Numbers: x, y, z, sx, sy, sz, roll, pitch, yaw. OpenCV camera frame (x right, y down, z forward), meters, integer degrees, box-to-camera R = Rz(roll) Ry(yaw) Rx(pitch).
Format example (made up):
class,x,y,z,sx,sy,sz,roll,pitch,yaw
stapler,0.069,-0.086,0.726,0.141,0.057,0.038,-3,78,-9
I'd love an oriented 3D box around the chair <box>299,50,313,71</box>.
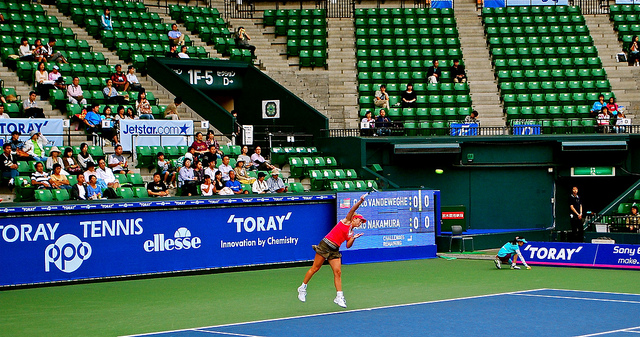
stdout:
class,x,y,z,sx,sy,sz,roll,pitch,yaw
chair,-0.715,-6.125,56.811,1.080,1.201,1.035,0,3,-2

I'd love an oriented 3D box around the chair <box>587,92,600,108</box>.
class,x,y,z,sx,sy,sz,roll,pitch,yaw
chair,14.795,-3.745,54.283,0.783,0.719,0.699,-2,3,-5

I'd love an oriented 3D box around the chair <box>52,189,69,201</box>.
class,x,y,z,sx,sy,sz,roll,pitch,yaw
chair,-11.127,1.138,43.909,0.637,0.737,0.649,0,-13,-28

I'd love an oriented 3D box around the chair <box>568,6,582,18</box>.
class,x,y,z,sx,sy,sz,roll,pitch,yaw
chair,15.271,-9.467,60.327,0.726,0.602,0.677,-1,3,11

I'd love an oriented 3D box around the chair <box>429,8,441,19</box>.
class,x,y,z,sx,sy,sz,roll,pitch,yaw
chair,6.908,-9.227,59.795,0.686,0.683,0.552,1,9,2

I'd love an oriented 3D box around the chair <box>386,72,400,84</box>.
class,x,y,z,sx,sy,sz,roll,pitch,yaw
chair,4.162,-4.978,55.469,0.910,0.757,0.609,0,-5,1

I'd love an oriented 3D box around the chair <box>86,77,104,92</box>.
class,x,y,z,sx,sy,sz,roll,pitch,yaw
chair,-11.304,-4.315,51.057,0.833,0.626,0.579,-2,3,-22

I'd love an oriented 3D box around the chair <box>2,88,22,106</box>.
class,x,y,z,sx,sy,sz,roll,pitch,yaw
chair,-14.806,-3.473,48.806,0.879,0.891,1.291,-2,3,-16

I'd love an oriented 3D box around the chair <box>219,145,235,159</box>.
class,x,y,z,sx,sy,sz,roll,pitch,yaw
chair,-4.458,-0.839,48.871,0.608,0.712,0.647,3,-3,-38

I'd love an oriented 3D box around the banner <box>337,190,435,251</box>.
class,x,y,z,sx,sy,sz,roll,pitch,yaw
banner,3.075,2.548,45.808,6.452,3.218,0.336,0,-2,-43

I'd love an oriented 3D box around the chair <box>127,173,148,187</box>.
class,x,y,z,sx,sy,sz,roll,pitch,yaw
chair,-8.292,0.522,45.914,0.630,0.745,0.684,2,-4,-35

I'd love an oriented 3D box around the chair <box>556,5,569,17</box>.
class,x,y,z,sx,sy,sz,roll,pitch,yaw
chair,14.535,-9.449,60.352,0.674,0.391,0.631,1,8,7

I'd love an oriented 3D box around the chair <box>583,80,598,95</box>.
class,x,y,z,sx,sy,sz,roll,pitch,yaw
chair,14.793,-4.450,55.047,0.735,0.583,0.641,0,-4,9

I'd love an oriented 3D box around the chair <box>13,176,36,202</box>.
class,x,y,z,sx,sy,sz,roll,pitch,yaw
chair,-12.839,0.878,44.047,0.770,1.060,0.814,-3,3,-26

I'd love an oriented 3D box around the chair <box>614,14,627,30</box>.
class,x,y,z,sx,sy,sz,roll,pitch,yaw
chair,17.904,-8.698,59.767,0.963,0.836,0.727,1,-31,5

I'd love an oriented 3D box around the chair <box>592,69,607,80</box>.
class,x,y,z,sx,sy,sz,roll,pitch,yaw
chair,15.480,-5.183,55.730,0.695,0.408,0.645,1,7,4

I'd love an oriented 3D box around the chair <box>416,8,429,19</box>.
class,x,y,z,sx,sy,sz,roll,pitch,yaw
chair,6.160,-9.247,59.840,0.672,0.557,0.605,1,3,6

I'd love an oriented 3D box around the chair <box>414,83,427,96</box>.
class,x,y,z,sx,sy,sz,roll,pitch,yaw
chair,5.577,-4.285,54.597,0.680,0.729,0.651,2,-4,0

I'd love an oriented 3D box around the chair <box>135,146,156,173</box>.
class,x,y,z,sx,sy,sz,roll,pitch,yaw
chair,-8.129,-0.532,47.673,0.943,0.987,0.873,-2,8,-19

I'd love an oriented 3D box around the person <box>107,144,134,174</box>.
class,x,y,z,sx,sy,sz,roll,pitch,yaw
person,-9.145,-0.439,46.368,1.025,1.354,1.772,-2,3,-6

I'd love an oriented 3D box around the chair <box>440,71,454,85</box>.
class,x,y,z,sx,sy,sz,roll,pitch,yaw
chair,7.000,-5.039,55.345,0.776,0.652,0.635,1,5,12

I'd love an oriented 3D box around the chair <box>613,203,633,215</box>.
class,x,y,z,sx,sy,sz,roll,pitch,yaw
chair,15.001,2.000,49.757,0.665,0.420,0.685,-3,-4,44

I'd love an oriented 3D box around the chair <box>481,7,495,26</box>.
class,x,y,z,sx,sy,sz,roll,pitch,yaw
chair,10.092,-9.174,60.173,1.098,1.133,1.015,0,-4,-1

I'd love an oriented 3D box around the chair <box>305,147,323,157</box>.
class,x,y,z,sx,sy,sz,roll,pitch,yaw
chair,-0.258,-0.836,51.411,0.597,0.593,0.549,3,-3,-27

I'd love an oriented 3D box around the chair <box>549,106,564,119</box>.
class,x,y,z,sx,sy,sz,roll,pitch,yaw
chair,12.591,-2.944,53.452,0.879,0.743,0.443,0,-4,4

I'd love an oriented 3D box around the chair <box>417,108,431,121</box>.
class,x,y,z,sx,sy,sz,roll,pitch,yaw
chair,5.496,-2.852,53.404,0.918,0.774,0.620,1,-8,-1

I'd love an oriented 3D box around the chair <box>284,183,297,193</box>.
class,x,y,z,sx,sy,sz,roll,pitch,yaw
chair,-1.353,0.869,47.864,0.523,0.371,0.609,-1,3,-2

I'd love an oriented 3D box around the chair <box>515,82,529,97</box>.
class,x,y,z,sx,sy,sz,roll,pitch,yaw
chair,11.028,-4.365,55.017,0.750,0.644,0.435,-1,-2,9

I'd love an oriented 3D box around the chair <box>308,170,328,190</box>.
class,x,y,z,sx,sy,sz,roll,pitch,yaw
chair,-0.071,0.593,49.919,1.075,1.075,0.884,1,-5,-15

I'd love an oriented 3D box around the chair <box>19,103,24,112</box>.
class,x,y,z,sx,sy,sz,roll,pitch,yaw
chair,-14.230,-2.923,48.272,0.150,0.426,0.240,-2,3,-16

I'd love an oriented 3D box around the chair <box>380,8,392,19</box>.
class,x,y,z,sx,sy,sz,roll,pitch,yaw
chair,3.969,-9.158,59.523,0.725,0.576,0.561,-1,3,0

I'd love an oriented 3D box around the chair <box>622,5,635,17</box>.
class,x,y,z,sx,sy,sz,roll,pitch,yaw
chair,18.565,-9.543,60.502,0.679,0.618,0.500,-1,3,15

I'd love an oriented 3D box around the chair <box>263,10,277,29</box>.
class,x,y,z,sx,sy,sz,roll,pitch,yaw
chair,-2.856,-8.736,58.904,1.033,1.162,1.019,0,19,-3

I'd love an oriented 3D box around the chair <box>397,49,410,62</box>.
class,x,y,z,sx,sy,sz,roll,pitch,yaw
chair,4.763,-6.412,56.697,0.669,0.568,0.496,-1,3,4

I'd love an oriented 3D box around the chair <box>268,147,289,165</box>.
class,x,y,z,sx,sy,sz,roll,pitch,yaw
chair,-1.958,-0.613,50.318,0.932,0.876,0.827,0,2,16

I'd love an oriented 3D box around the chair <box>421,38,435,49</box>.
class,x,y,z,sx,sy,sz,roll,pitch,yaw
chair,6.227,-7.155,57.577,0.741,0.584,0.511,-1,3,6

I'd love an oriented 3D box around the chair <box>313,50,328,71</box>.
class,x,y,z,sx,sy,sz,roll,pitch,yaw
chair,0.037,-6.168,56.916,1.003,1.077,0.967,0,-2,-2

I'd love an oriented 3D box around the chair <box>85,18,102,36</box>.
class,x,y,z,sx,sy,sz,roll,pitch,yaw
chair,-12.222,-7.675,54.638,0.834,0.954,0.456,-2,3,-5

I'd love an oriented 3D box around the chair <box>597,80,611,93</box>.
class,x,y,z,sx,sy,sz,roll,pitch,yaw
chair,15.528,-4.512,55.006,0.660,0.684,0.749,-1,3,14

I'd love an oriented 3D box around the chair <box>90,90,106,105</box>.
class,x,y,z,sx,sy,sz,roll,pitch,yaw
chair,-10.838,-3.530,50.189,0.809,0.705,0.802,2,-3,-29

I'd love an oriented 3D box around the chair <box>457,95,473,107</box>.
class,x,y,z,sx,sy,sz,roll,pitch,yaw
chair,7.847,-3.607,54.147,0.763,0.402,0.711,0,-2,5

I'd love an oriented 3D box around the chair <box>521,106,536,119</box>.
class,x,y,z,sx,sy,sz,roll,pitch,yaw
chair,11.175,-2.952,53.818,0.802,0.656,0.635,0,-4,5

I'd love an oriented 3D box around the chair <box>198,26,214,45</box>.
class,x,y,z,sx,sy,sz,roll,pitch,yaw
chair,-6.327,-7.503,57.061,0.959,1.080,0.974,1,-1,-26

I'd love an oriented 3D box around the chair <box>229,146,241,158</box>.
class,x,y,z,sx,sy,sz,roll,pitch,yaw
chair,-4.040,-0.832,49.414,0.554,0.663,0.580,5,-8,-38

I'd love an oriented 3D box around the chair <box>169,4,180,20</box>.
class,x,y,z,sx,sy,sz,roll,pitch,yaw
chair,-8.187,-8.934,57.495,0.804,0.865,0.828,-3,6,-39

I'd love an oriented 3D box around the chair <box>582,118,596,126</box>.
class,x,y,z,sx,sy,sz,roll,pitch,yaw
chair,14.009,-2.422,52.310,0.662,0.395,1.097,-1,3,14

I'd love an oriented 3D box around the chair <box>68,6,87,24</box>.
class,x,y,z,sx,sy,sz,roll,pitch,yaw
chair,-13.243,-8.393,55.236,1.022,0.828,1.003,1,6,8

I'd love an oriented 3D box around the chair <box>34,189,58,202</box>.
class,x,y,z,sx,sy,sz,roll,pitch,yaw
chair,-11.787,1.166,43.724,0.630,0.708,0.621,3,-8,-32

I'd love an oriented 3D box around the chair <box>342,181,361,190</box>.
class,x,y,z,sx,sy,sz,roll,pitch,yaw
chair,1.462,0.842,49.409,1.207,0.404,0.343,3,-9,-29

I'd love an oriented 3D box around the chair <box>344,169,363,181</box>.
class,x,y,z,sx,sy,sz,roll,pitch,yaw
chair,1.707,0.304,50.378,0.617,0.518,0.908,1,4,43

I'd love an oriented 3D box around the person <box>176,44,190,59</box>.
class,x,y,z,sx,sy,sz,roll,pitch,yaw
person,-7.281,-6.263,54.011,0.546,0.862,1.065,-5,-3,20

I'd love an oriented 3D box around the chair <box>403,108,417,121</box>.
class,x,y,z,sx,sy,sz,roll,pitch,yaw
chair,4.841,-2.885,53.285,0.790,0.645,0.614,0,-4,2

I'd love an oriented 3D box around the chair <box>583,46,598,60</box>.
class,x,y,z,sx,sy,sz,roll,pitch,yaw
chair,15.356,-6.593,57.152,0.758,0.471,0.704,2,5,4

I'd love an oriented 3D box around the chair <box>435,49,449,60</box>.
class,x,y,z,sx,sy,sz,roll,pitch,yaw
chair,6.919,-6.435,56.785,0.869,0.553,0.789,1,-3,2

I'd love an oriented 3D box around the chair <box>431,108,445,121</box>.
class,x,y,z,sx,sy,sz,roll,pitch,yaw
chair,6.272,-2.833,53.207,0.842,0.695,0.401,1,-8,-6

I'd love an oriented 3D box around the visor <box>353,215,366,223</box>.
class,x,y,z,sx,sy,sz,roll,pitch,yaw
visor,1.597,1.980,39.581,0.441,0.347,0.968,-1,3,5

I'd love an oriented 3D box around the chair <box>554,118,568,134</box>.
class,x,y,z,sx,sy,sz,roll,pitch,yaw
chair,12.702,-2.162,52.665,0.769,0.652,0.708,1,2,3
